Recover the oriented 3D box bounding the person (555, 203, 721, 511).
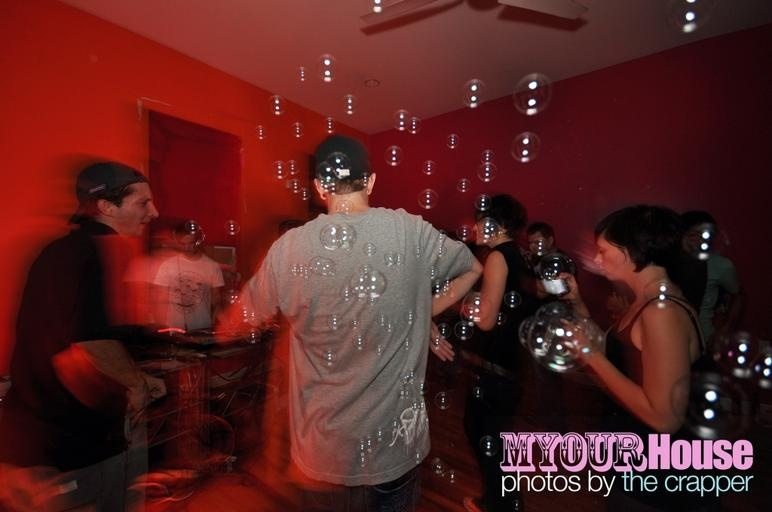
[{"bbox_3d":[1.601,0.631,3.424,0.844,1.890,0.389,2,-1,11],"label":"person"}]

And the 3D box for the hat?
[{"bbox_3d":[-1.886,-0.485,3.703,0.333,0.267,0.475,7,36,27],"label":"hat"}]

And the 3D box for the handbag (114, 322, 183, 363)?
[{"bbox_3d":[-1.708,0.613,3.969,0.303,0.134,0.406,0,2,-11],"label":"handbag"}]
